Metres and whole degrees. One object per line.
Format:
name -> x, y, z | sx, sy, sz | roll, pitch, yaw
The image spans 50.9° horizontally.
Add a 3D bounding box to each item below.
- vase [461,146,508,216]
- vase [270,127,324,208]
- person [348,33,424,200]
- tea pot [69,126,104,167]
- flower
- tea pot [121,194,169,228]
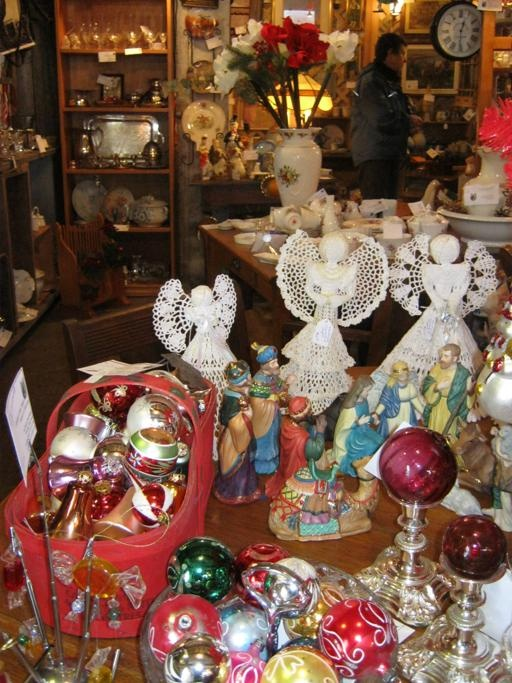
vase -> 0.763, -0.527, 1.779 | 0.134, 0.221, 0.334 | 9, 24, 19
vase -> 0.199, -0.821, 2.557 | 0.228, 0.376, 0.230 | -27, 41, -34
person -> 0.804, -1.478, 3.547 | 0.405, 1.034, 0.510 | 13, 25, 26
tea pot -> -1.463, -1.676, 4.619 | 0.333, 0.361, 0.229 | 6, 30, 1
flower -> 0.154, -1.197, 2.402 | 0.545, 0.457, 0.521 | 12, 25, 24
tea pot -> -0.946, -1.073, 4.642 | 0.367, 0.238, 0.281 | 21, 38, 26
